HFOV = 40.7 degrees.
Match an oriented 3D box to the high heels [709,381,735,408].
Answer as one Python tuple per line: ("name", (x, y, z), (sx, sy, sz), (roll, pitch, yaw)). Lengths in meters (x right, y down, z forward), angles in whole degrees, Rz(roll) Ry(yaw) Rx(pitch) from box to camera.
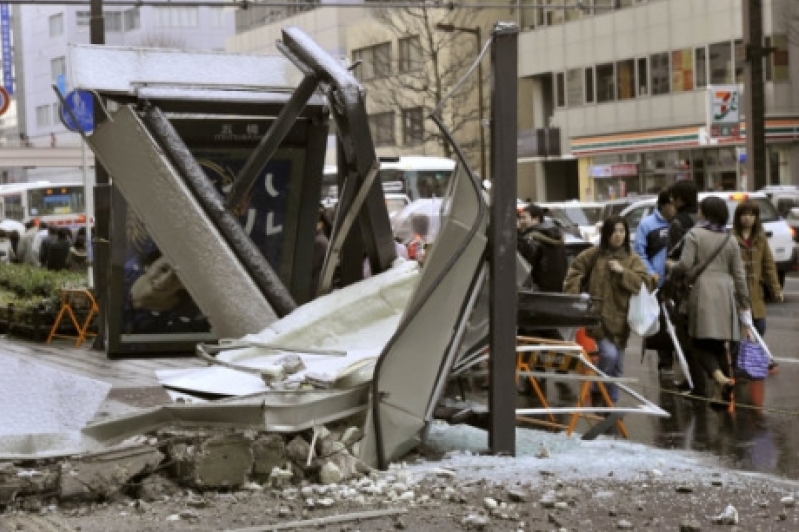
("high heels", (3.954, 1.476, 13.314), (0.209, 0.184, 0.547), (36, 23, -14))

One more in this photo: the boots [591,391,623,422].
("boots", (2.391, 1.633, 12.779), (0.177, 0.378, 0.562), (-8, -2, -10))

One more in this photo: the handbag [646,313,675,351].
("handbag", (3.471, 0.897, 14.422), (0.327, 0.545, 0.691), (1, 4, 22))

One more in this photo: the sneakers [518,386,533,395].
("sneakers", (1.630, 1.617, 14.077), (0.183, 0.074, 0.257), (-1, 3, 4))

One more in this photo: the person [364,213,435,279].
("person", (0.091, -0.325, 17.263), (1.203, 1.317, 0.764), (-7, 6, -17))

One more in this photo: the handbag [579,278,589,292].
("handbag", (2.295, 0.243, 13.549), (0.084, 0.181, 0.174), (-2, 4, -17))

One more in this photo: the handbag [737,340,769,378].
("handbag", (4.354, 1.159, 13.375), (0.347, 0.487, 0.155), (4, -18, -22))

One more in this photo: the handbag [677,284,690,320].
("handbag", (3.569, 0.425, 13.630), (0.076, 0.317, 0.214), (6, 7, 0))
